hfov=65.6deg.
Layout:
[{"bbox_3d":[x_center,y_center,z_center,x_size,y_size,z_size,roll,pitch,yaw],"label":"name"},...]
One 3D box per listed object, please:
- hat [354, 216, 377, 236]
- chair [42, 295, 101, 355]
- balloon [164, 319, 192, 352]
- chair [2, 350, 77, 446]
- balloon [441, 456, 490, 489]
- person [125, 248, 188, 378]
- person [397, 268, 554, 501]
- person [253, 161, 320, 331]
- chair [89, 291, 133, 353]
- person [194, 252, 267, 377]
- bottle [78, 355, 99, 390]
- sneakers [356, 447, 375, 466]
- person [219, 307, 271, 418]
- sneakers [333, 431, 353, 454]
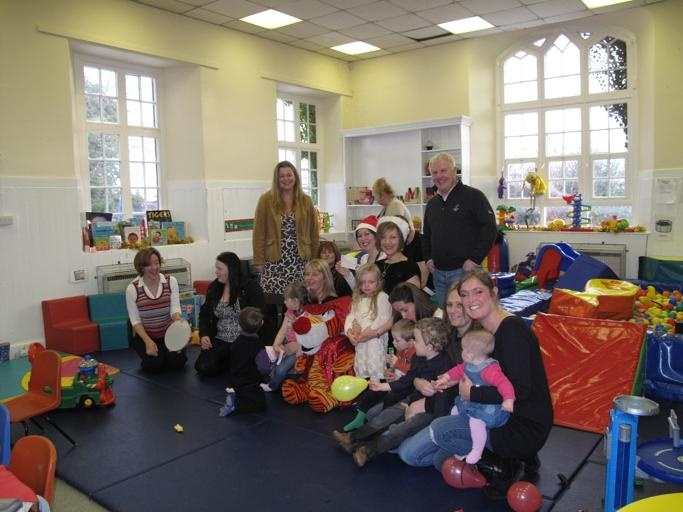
[{"bbox_3d":[0.237,-0.285,4.899,0.187,0.151,0.133,4,-5,-41],"label":"hat"},{"bbox_3d":[-3.002,0.766,5.933,0.501,0.495,0.476,9,7,24],"label":"chair"},{"bbox_3d":[-1.636,0.789,5.278,0.250,0.277,0.210,-8,13,-24],"label":"balloon"},{"bbox_3d":[-2.138,0.899,3.664,0.321,0.526,0.476,-11,15,-36],"label":"chair"},{"bbox_3d":[0.743,1.327,3.220,0.214,0.161,0.166,3,49,21],"label":"balloon"},{"bbox_3d":[-1.850,0.523,5.226,0.492,1.168,0.466,-7,12,-19],"label":"person"},{"bbox_3d":[0.887,0.779,3.437,0.945,1.288,0.700,-3,-7,28],"label":"person"},{"bbox_3d":[-0.611,-0.073,5.634,0.657,1.908,0.461,-2,33,-12],"label":"person"},{"bbox_3d":[-2.611,0.738,6.021,0.297,0.554,0.403,12,11,39],"label":"chair"},{"bbox_3d":[-1.134,0.577,5.224,0.690,1.135,0.559,-3,3,-30],"label":"person"},{"bbox_3d":[-2.105,0.953,4.441,0.213,0.243,0.218,-4,6,-18],"label":"bottle"},{"bbox_3d":[0.139,1.305,3.464,0.064,0.065,0.151,1,2,10],"label":"sneakers"},{"bbox_3d":[-0.811,0.829,4.256,0.387,0.800,0.296,-5,12,-10],"label":"person"},{"bbox_3d":[0.010,1.240,3.613,0.097,0.162,0.122,-24,-2,-12],"label":"sneakers"}]
